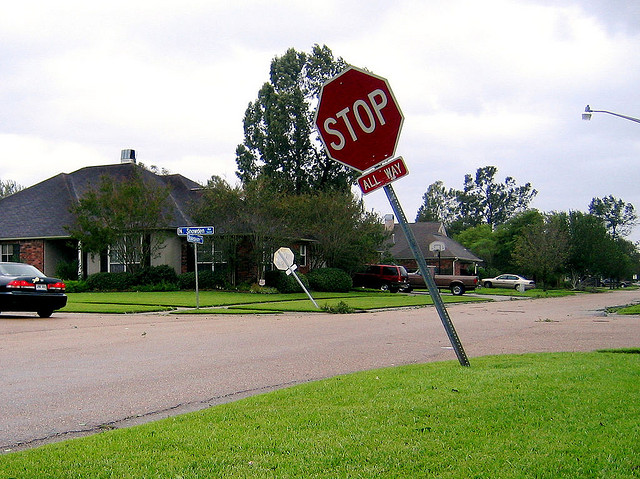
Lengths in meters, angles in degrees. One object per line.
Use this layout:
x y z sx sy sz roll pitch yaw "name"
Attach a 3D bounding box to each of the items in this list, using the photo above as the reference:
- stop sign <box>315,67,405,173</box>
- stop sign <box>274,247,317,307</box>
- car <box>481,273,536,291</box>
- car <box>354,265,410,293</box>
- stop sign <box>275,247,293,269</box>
0.563 -1.734 9.395 1.248 1.480 0.432 -4 -4 12 "stop sign"
-1.217 1.156 25.803 1.155 1.652 1.638 -3 -4 -3 "stop sign"
17.343 3.998 60.273 3.804 1.271 1.774 3 0 28 "car"
4.390 2.603 44.878 3.377 1.473 1.660 5 1 29 "car"
-1.429 0.752 25.740 0.738 0.838 0.538 -2 -4 -13 "stop sign"
